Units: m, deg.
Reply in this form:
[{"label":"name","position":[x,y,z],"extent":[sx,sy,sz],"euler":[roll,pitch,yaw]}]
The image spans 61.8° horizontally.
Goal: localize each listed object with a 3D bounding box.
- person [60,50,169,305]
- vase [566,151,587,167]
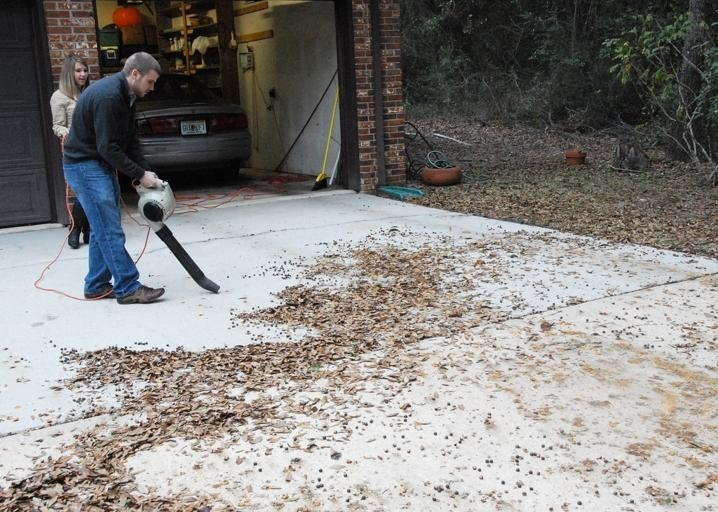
[{"label":"person","position":[-2.155,-0.671,5.223],"extent":[0.937,2.075,1.033],"euler":[-2,17,-35]},{"label":"vase","position":[4.329,-1.952,11.977],"extent":[0.344,0.239,0.371],"euler":[-4,14,-17]}]
